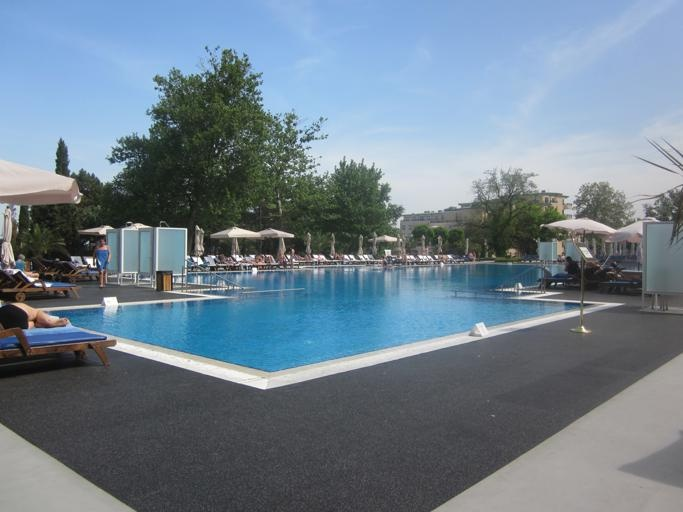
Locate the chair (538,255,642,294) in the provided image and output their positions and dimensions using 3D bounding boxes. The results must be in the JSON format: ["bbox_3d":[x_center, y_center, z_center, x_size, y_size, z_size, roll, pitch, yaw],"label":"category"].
[{"bbox_3d":[10.196,0.739,19.623,3.370,1.488,2.394,-3,-2,32],"label":"chair"}]
